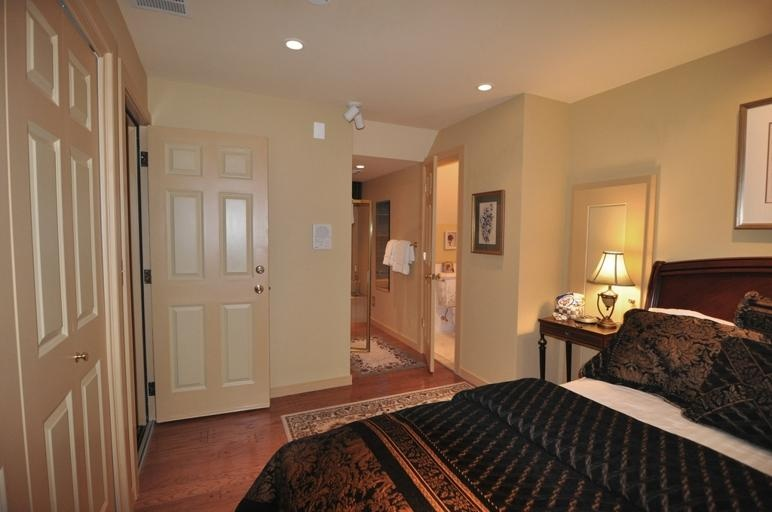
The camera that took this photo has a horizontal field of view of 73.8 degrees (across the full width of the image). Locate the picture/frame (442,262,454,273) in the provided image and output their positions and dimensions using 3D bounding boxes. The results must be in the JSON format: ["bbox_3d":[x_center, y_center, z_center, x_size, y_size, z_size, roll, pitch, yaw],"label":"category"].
[{"bbox_3d":[0.835,0.179,6.933,0.131,0.113,0.042,3,-12,-19],"label":"picture/frame"}]

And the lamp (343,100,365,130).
[{"bbox_3d":[-0.269,-1.322,4.828,0.136,0.231,0.236,14,35,28],"label":"lamp"}]

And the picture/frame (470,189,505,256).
[{"bbox_3d":[0.973,-0.305,4.843,0.055,0.804,0.612,-1,3,-22],"label":"picture/frame"}]
